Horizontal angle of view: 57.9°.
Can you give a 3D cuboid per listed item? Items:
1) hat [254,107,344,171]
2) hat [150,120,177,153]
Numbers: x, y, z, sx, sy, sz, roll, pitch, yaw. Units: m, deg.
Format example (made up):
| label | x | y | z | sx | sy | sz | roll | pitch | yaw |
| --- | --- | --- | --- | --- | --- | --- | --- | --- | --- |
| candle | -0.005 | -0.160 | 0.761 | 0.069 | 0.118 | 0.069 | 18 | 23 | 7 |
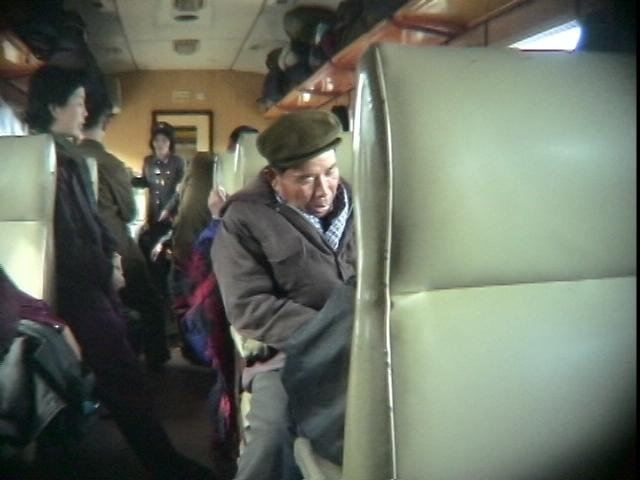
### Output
| label | x | y | z | sx | sy | sz | roll | pitch | yaw |
| --- | --- | --- | --- | --- | --- | --- | --- | --- | --- |
| hat | -0.042 | -0.229 | 1.333 | 0.131 | 0.054 | 0.159 | -45 | 31 | -26 |
| hat | -0.335 | -0.227 | 1.260 | 0.046 | 0.064 | 0.057 | 2 | 35 | -6 |
